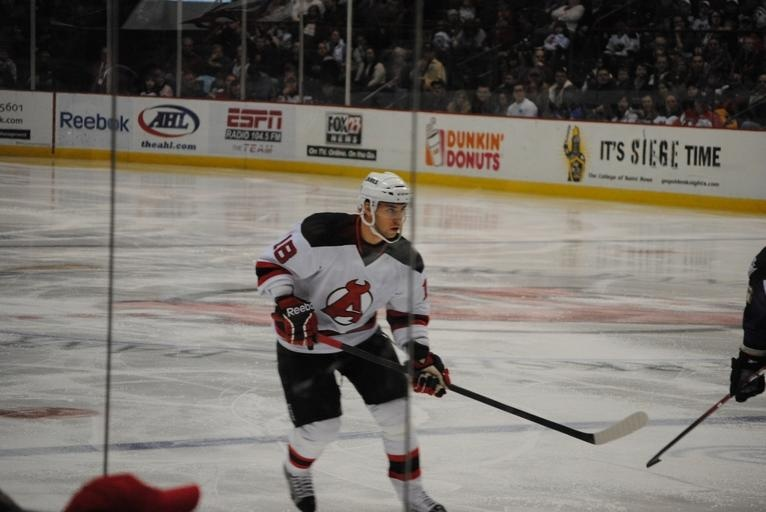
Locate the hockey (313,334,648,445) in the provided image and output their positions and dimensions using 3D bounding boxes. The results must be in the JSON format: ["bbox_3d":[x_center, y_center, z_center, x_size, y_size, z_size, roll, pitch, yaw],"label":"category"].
[{"bbox_3d":[0.661,0.961,7.804,2.191,0.216,0.220,17,-34,-3],"label":"hockey"}]

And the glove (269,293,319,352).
[{"bbox_3d":[-0.544,0.419,7.010,0.310,0.329,0.112,-14,5,-10],"label":"glove"}]

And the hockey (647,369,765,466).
[{"bbox_3d":[2.290,1.178,7.948,0.058,1.030,0.113,42,24,-22],"label":"hockey"}]

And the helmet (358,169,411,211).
[{"bbox_3d":[0.008,-0.407,7.036,0.305,0.231,0.226,-4,-1,19],"label":"helmet"}]

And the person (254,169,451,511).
[{"bbox_3d":[-0.035,0.551,6.997,0.917,2.129,1.464,-3,8,-44],"label":"person"}]
